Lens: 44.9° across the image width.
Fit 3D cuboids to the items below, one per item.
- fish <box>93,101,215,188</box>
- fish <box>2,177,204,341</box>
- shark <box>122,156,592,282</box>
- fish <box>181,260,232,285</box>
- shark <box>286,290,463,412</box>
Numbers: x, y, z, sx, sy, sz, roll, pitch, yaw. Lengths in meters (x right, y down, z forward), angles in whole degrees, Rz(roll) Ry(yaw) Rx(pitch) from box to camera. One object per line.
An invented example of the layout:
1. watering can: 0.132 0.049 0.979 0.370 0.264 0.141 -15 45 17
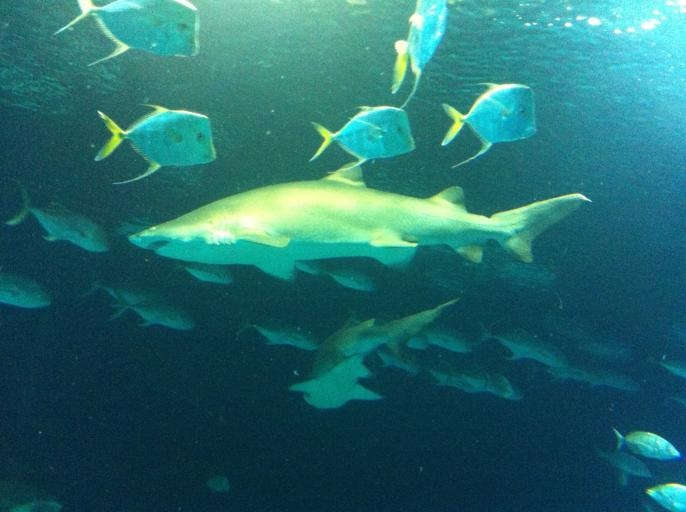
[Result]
1. fish: -1.492 -0.921 6.609 0.987 0.165 0.606 -2 96 10
2. fish: -2.008 -0.026 7.065 1.116 1.211 1.163 9 15 41
3. shark: 0.732 -0.253 7.628 5.630 1.261 1.228 0 79 -7
4. fish: -1.114 0.151 6.996 0.492 0.220 0.150 9 45 -8
5. shark: 0.168 0.865 7.295 0.642 0.609 1.178 35 58 12
